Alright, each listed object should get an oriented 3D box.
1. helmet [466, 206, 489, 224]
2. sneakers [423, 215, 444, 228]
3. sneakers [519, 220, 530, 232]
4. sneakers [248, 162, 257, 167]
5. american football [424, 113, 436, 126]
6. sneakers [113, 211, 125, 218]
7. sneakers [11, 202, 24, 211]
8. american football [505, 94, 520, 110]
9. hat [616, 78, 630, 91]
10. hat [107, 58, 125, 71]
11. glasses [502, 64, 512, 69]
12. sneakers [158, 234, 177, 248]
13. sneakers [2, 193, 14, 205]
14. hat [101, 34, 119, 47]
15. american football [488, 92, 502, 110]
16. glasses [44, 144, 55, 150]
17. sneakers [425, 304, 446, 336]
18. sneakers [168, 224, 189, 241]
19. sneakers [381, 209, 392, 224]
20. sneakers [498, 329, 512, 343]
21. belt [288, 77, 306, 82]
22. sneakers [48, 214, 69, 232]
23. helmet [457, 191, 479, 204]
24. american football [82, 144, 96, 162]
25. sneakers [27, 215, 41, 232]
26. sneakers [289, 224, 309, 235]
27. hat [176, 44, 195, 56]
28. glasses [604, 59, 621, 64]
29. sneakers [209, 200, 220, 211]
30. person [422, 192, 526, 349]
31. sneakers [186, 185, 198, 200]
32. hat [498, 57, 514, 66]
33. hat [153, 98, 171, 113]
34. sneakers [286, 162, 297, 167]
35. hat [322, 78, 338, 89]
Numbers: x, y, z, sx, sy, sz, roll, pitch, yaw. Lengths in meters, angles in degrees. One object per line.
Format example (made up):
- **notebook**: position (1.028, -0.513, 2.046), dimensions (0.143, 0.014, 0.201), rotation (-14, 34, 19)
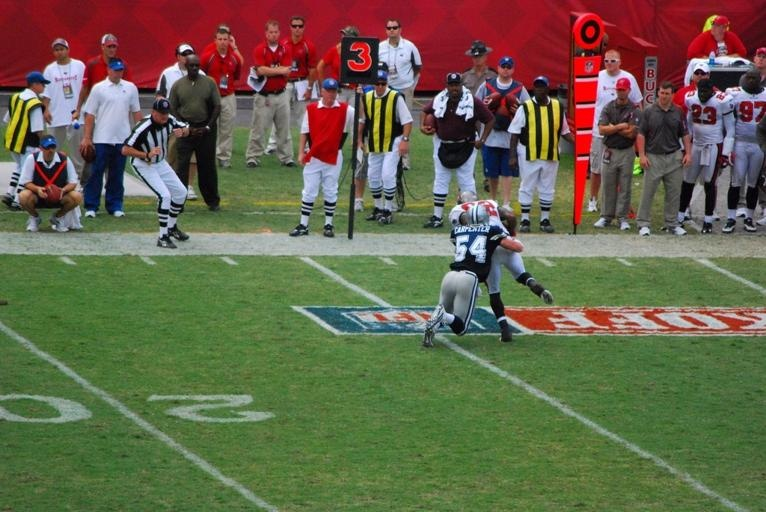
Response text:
- **helmet**: position (1.243, -0.527, 17.745), dimensions (0.216, 0.234, 0.248), rotation (4, 0, 35)
- **sneakers**: position (0.788, -0.552, 22.679), dimensions (0.417, 0.171, 0.135), rotation (-3, 11, -31)
- **sneakers**: position (2.336, -0.490, 22.494), dimensions (0.217, 0.202, 0.520), rotation (0, 2, 5)
- **sneakers**: position (-2.454, -1.737, 26.077), dimensions (0.214, 0.116, 0.137), rotation (-1, 6, -26)
- **american football**: position (0.750, -2.214, 22.252), dimensions (0.155, 0.208, 0.269), rotation (1, 5, -11)
- **sneakers**: position (-4.300, -0.699, 22.505), dimensions (0.174, 0.116, 0.347), rotation (1, 5, -7)
- **sneakers**: position (-5.958, -0.818, 22.402), dimensions (0.166, 0.141, 0.184), rotation (0, 5, -15)
- **american football**: position (2.169, -2.525, 22.658), dimensions (0.220, 0.261, 0.279), rotation (1, 5, -12)
- **hat**: position (3.851, -2.738, 21.946), dimensions (0.208, 0.197, 0.231), rotation (2, 5, 5)
- **hat**: position (-4.208, -3.030, 21.712), dimensions (0.172, 0.117, 0.225), rotation (-9, 19, -34)
- **glasses**: position (2.072, -3.136, 22.705), dimensions (0.097, 0.024, 0.088), rotation (2, 48, -1)
- **sneakers**: position (-3.220, -0.225, 20.724), dimensions (0.320, 0.134, 0.153), rotation (9, 22, 29)
- **sneakers**: position (-6.109, -0.908, 22.401), dimensions (0.150, 0.211, 0.333), rotation (-1, 5, -27)
- **hat**: position (-4.477, -3.533, 22.562), dimensions (0.209, 0.182, 0.363), rotation (0, 5, -16)
- **american football**: position (1.876, -2.569, 22.830), dimensions (0.184, 0.283, 0.143), rotation (17, 7, 35)
- **glasses**: position (-5.069, -1.661, 20.919), dimensions (0.166, 0.081, 0.072), rotation (0, 5, -13)
- **sneakers**: position (0.680, 0.820, 17.618), dimensions (0.171, 0.455, 0.220), rotation (30, 35, 30)
- **sneakers**: position (-3.066, -0.376, 21.072), dimensions (0.412, 0.187, 0.134), rotation (11, 35, -20)
- **sneakers**: position (0.065, -0.651, 22.902), dimensions (0.202, 0.238, 0.113), rotation (-1, 5, -27)
- **sneakers**: position (1.607, 1.044, 17.974), dimensions (0.201, 0.224, 0.149), rotation (-1, 2, -8)
- **belt**: position (-1.581, -3.350, 26.095), dimensions (0.252, 0.082, 0.277), rotation (-2, 6, -35)
- **sneakers**: position (-5.029, -0.486, 21.352), dimensions (0.190, 0.140, 0.425), rotation (-32, -43, 29)
- **helmet**: position (1.159, -0.771, 18.170), dimensions (0.192, 0.124, 0.193), rotation (2, 2, 44)
- **american football**: position (-4.658, -1.641, 21.794), dimensions (0.234, 0.262, 0.195), rotation (1, 5, -11)
- **sneakers**: position (-5.384, -0.495, 21.238), dimensions (0.143, 0.137, 0.332), rotation (0, 13, -5)
- **sneakers**: position (-1.302, -0.403, 21.855), dimensions (0.337, 0.130, 0.125), rotation (-1, 4, -32)
- **hat**: position (-3.266, -3.402, 22.794), dimensions (0.296, 0.127, 0.389), rotation (-1, 11, -18)
- **glasses**: position (3.833, -3.240, 22.892), dimensions (0.205, 0.086, 0.313), rotation (2, 5, 1)
- **sneakers**: position (-2.823, -0.858, 23.139), dimensions (0.190, 0.169, 0.186), rotation (1, 5, -6)
- **person**: position (1.124, 0.243, 17.705), dimensions (1.113, 1.858, 0.456), rotation (2, 5, 2)
- **sneakers**: position (-3.188, -1.060, 23.102), dimensions (0.187, 0.186, 0.479), rotation (-1, 7, -19)
- **hat**: position (2.074, -3.238, 22.822), dimensions (0.226, 0.146, 0.300), rotation (16, 0, 3)
- **hat**: position (-3.294, -2.225, 20.484), dimensions (0.242, 0.168, 0.337), rotation (-15, 36, -31)
- **sneakers**: position (-1.710, -1.758, 26.378), dimensions (0.162, 0.113, 0.265), rotation (6, 6, 39)
- **hat**: position (-0.805, -2.688, 21.382), dimensions (0.196, 0.123, 0.247), rotation (5, 7, -9)
